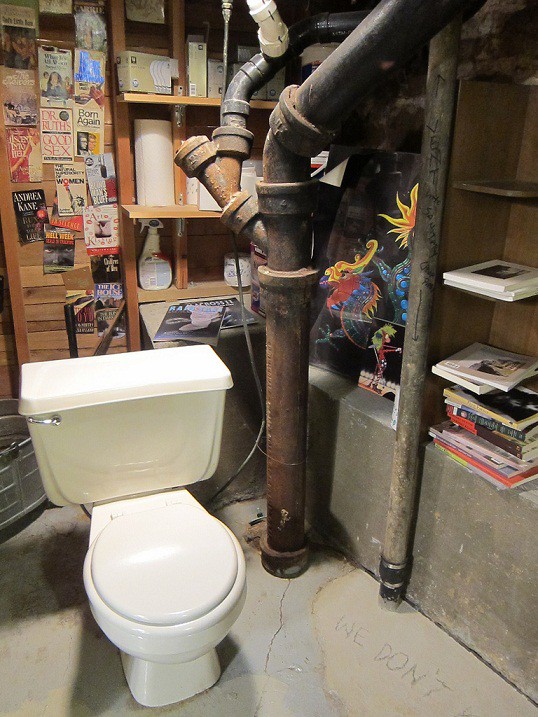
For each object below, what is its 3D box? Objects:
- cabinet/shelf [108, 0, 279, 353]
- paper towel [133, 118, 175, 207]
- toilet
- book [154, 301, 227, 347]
[{"bbox_3d":[-0.396,-0.696,2.103,0.414,1.346,0.359,-5,19,-17],"label":"cabinet/shelf"},{"bbox_3d":[-0.450,-0.770,2.059,0.147,0.315,0.066,-3,18,-11],"label":"paper towel"},{"bbox_3d":[-0.366,0.446,1.354,0.471,0.720,0.681,-9,30,-16],"label":"toilet"},{"bbox_3d":[-0.283,-0.120,1.903,0.275,0.045,0.388,2,29,2],"label":"book"}]
